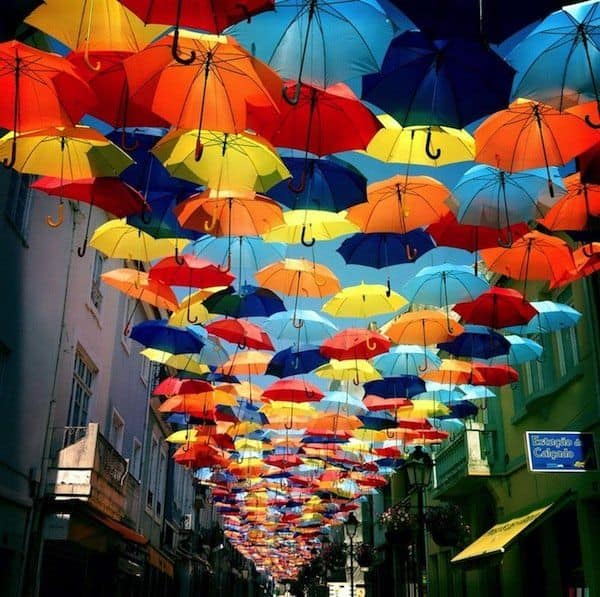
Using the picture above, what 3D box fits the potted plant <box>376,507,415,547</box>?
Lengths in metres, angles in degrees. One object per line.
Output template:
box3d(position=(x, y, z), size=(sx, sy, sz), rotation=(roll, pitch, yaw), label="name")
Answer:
box3d(position=(2.664, 6.269, 19.770), size=(0.986, 1.217, 1.007), rotation=(6, -34, -8), label="potted plant")

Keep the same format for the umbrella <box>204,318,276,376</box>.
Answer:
box3d(position=(-1.046, 0.698, 13.364), size=(0.852, 0.808, 0.963), rotation=(9, -31, 12), label="umbrella")

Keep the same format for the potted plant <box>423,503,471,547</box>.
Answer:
box3d(position=(3.799, 5.777, 18.580), size=(0.724, 1.030, 0.867), rotation=(5, -15, 34), label="potted plant")

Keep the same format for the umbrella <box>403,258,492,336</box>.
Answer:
box3d(position=(2.412, 0.073, 12.240), size=(1.020, 1.294, 1.197), rotation=(1, -51, 21), label="umbrella")

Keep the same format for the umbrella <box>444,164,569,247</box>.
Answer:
box3d(position=(2.521, -1.256, 9.030), size=(0.870, 0.726, 0.963), rotation=(33, -41, -27), label="umbrella")

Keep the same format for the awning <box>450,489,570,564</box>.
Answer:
box3d(position=(4.290, 5.078, 15.649), size=(1.081, 1.294, 4.516), rotation=(2, -32, -5), label="awning")

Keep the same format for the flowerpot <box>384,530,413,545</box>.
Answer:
box3d(position=(2.659, 6.362, 19.568), size=(0.675, 0.339, 0.631), rotation=(-4, -30, 4), label="flowerpot")

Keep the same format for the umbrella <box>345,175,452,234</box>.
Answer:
box3d(position=(1.219, -1.262, 9.184), size=(1.150, 0.501, 1.248), rotation=(-25, -18, 33), label="umbrella")
